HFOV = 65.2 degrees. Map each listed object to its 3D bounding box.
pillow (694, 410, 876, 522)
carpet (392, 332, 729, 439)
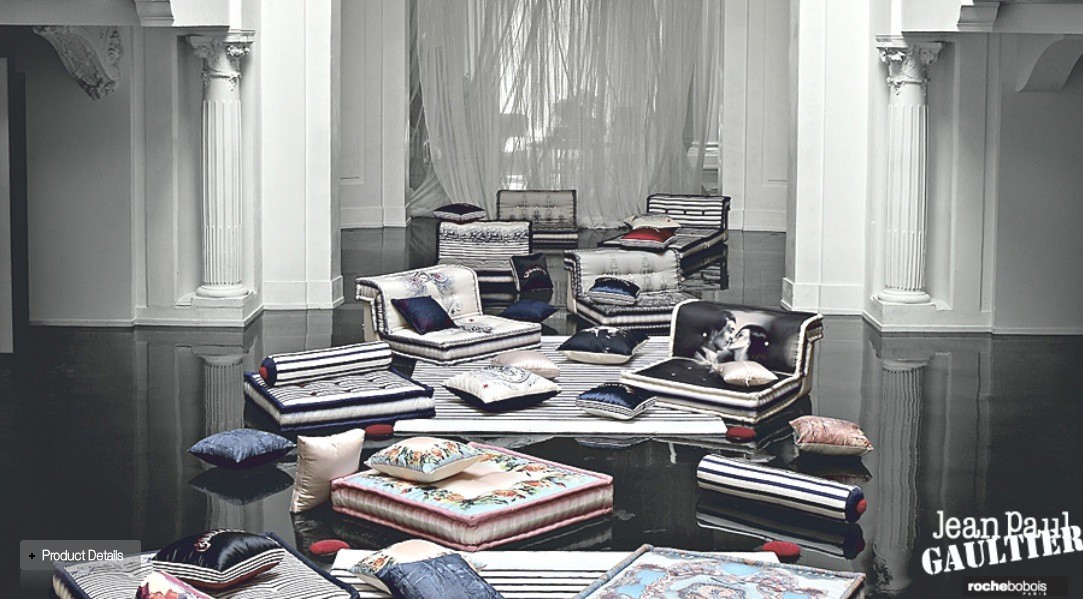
[{"bbox_3d":[1.969,1.313,6.845,0.864,0.208,0.849,7,13,28],"label":"pillow"},{"bbox_3d":[0.168,0.987,8.719,3.106,0.342,1.877,-1,10,-1],"label":"carpet"}]
